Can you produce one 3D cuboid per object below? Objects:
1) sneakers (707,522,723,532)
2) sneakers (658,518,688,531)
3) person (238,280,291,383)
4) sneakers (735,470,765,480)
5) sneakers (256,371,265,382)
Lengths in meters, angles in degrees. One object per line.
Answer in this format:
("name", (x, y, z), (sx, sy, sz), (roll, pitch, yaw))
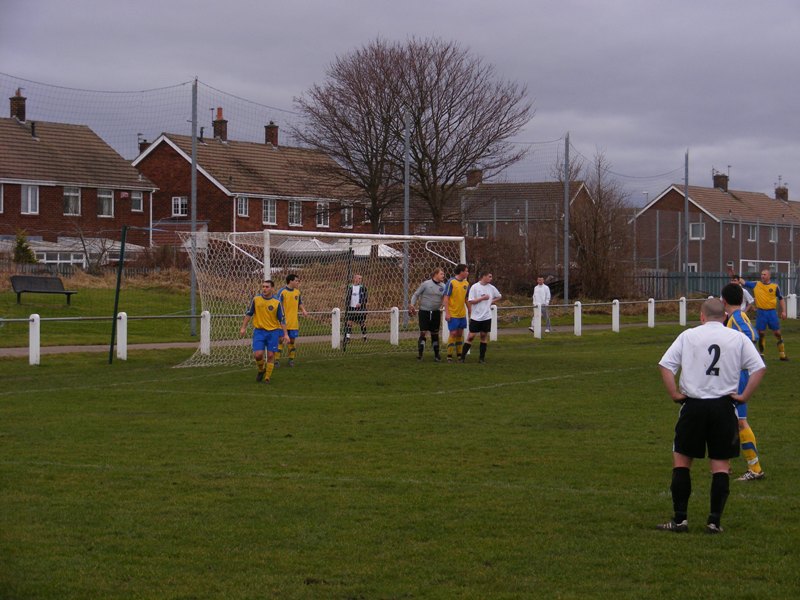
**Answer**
("sneakers", (4.047, 2.943, 19.069), (0.075, 0.089, 0.240), (-23, -8, 37))
("sneakers", (3.537, 2.910, 19.131), (0.418, 0.164, 0.141), (0, -4, 18))
("person", (-2.505, 0.583, 27.746), (0.753, 1.929, 1.312), (0, 10, -6))
("sneakers", (4.906, 2.469, 20.769), (0.413, 0.161, 0.135), (0, -1, 8))
("sneakers", (-2.558, 1.450, 27.709), (0.080, 0.212, 0.094), (7, 2, -11))
